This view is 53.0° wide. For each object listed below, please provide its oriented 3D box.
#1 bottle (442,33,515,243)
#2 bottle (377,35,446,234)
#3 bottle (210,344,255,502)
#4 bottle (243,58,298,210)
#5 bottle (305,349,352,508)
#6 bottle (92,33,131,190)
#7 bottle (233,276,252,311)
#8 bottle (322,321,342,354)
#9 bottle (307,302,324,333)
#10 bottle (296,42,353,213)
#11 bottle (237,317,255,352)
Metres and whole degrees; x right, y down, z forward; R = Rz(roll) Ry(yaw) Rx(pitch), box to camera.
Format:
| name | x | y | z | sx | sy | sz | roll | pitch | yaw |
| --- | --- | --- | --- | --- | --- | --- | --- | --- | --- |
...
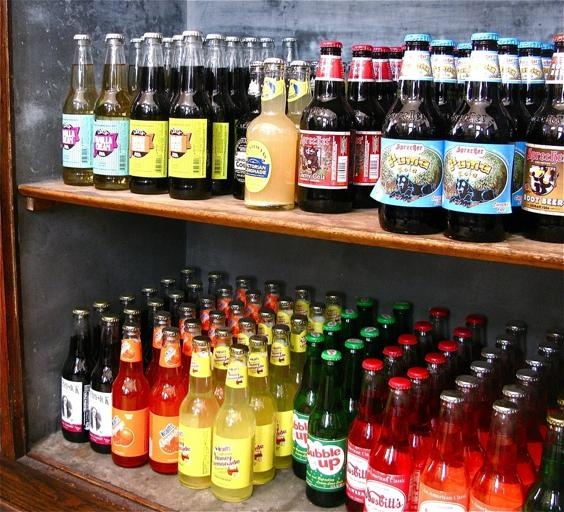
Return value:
| name | x | y | z | sx | sy | sz | roll | pitch | yaw |
| --- | --- | --- | --- | --- | --- | --- | --- | --- | --- |
| bottle | 0.344 | -0.203 | 0.981 | 0.121 | 0.351 | 0.107 | 1 | 13 | 9 |
| bottle | 0.240 | -0.222 | 1.029 | 0.120 | 0.357 | 0.108 | -6 | 14 | -20 |
| bottle | -0.111 | 0.367 | 1.247 | 0.106 | 0.370 | 0.085 | -3 | 13 | -9 |
| bottle | -0.027 | -0.259 | 1.219 | 0.115 | 0.318 | 0.063 | -2 | 13 | -4 |
| bottle | 0.097 | 0.375 | 1.236 | 0.095 | 0.366 | 0.080 | -1 | 13 | 3 |
| bottle | -0.433 | -0.361 | 1.415 | 0.109 | 0.384 | 0.132 | -6 | 14 | -18 |
| bottle | -0.107 | 0.102 | 1.619 | 0.063 | 0.106 | 0.064 | 1 | 4 | 0 |
| bottle | 0.116 | 0.190 | 1.327 | 0.041 | 0.107 | 0.121 | -1 | 13 | 4 |
| bottle | 0.084 | 0.155 | 1.400 | 0.042 | 0.065 | 0.098 | 0 | 13 | 4 |
| bottle | 0.093 | -0.269 | 1.194 | 0.121 | 0.353 | 0.128 | -1 | 13 | 0 |
| bottle | -0.083 | 0.173 | 1.305 | 0.051 | 0.080 | 0.050 | 2 | 2 | 0 |
